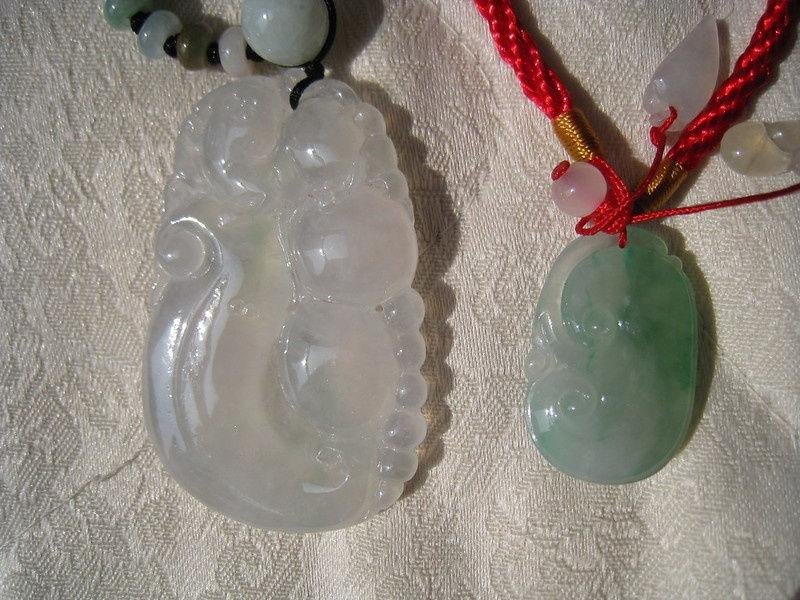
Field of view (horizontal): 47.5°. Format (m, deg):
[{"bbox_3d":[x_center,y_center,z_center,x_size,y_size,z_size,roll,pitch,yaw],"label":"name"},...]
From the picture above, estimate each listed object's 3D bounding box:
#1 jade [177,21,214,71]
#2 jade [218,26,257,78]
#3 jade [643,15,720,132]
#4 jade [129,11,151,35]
[{"bbox_3d":[-0.351,-0.430,1.583,0.062,0.064,0.090,1,81,-3],"label":"jade"},{"bbox_3d":[-0.273,-0.427,1.581,0.052,0.060,0.073,-20,106,-23],"label":"jade"},{"bbox_3d":[0.471,-0.373,1.542,0.092,0.051,0.190,20,101,-1],"label":"jade"},{"bbox_3d":[-0.455,-0.487,1.607,0.036,0.034,0.041,-9,108,-38],"label":"jade"}]
